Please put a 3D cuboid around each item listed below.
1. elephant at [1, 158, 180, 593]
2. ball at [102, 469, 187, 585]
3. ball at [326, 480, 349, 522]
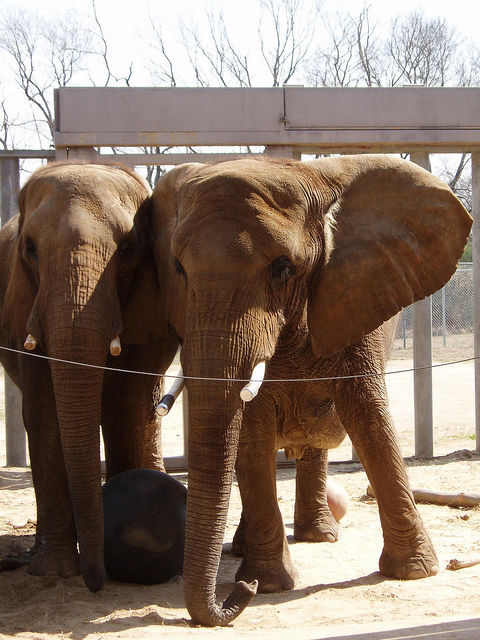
[{"bbox_3d":[-0.741,0.119,5.086,1.016,1.571,2.105,-1,-10,-3],"label":"elephant"},{"bbox_3d":[-0.438,1.002,5.094,0.492,0.569,0.473,2,-13,0],"label":"ball"},{"bbox_3d":[0.577,1.092,6.330,0.162,0.195,0.166,2,-40,2],"label":"ball"}]
